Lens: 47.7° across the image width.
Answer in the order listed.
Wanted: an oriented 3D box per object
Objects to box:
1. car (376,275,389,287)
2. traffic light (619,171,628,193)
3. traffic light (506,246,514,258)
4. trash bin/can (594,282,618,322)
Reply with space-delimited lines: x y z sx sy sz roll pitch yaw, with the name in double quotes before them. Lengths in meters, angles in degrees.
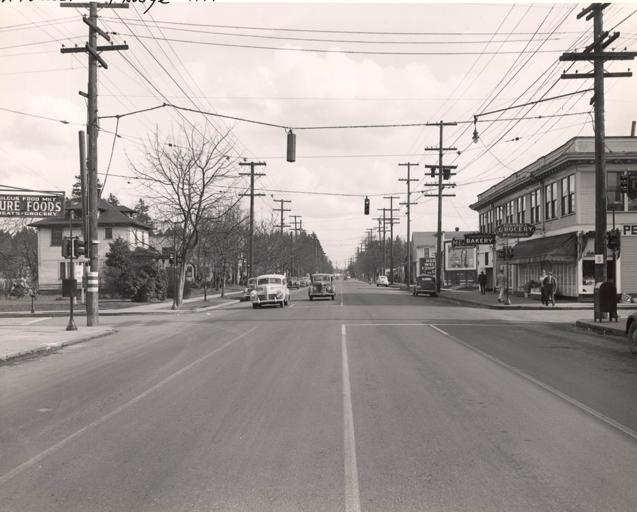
"car" 8.415 3.338 96.563 1.032 1.054 2.728 -1 -4 1
"traffic light" 10.076 -2.397 23.793 0.221 0.581 0.604 2 6 25
"traffic light" 10.165 -0.178 38.459 0.261 0.686 1.207 1 6 20
"trash bin/can" 9.997 1.617 25.227 0.817 1.324 0.648 -2 5 -12
